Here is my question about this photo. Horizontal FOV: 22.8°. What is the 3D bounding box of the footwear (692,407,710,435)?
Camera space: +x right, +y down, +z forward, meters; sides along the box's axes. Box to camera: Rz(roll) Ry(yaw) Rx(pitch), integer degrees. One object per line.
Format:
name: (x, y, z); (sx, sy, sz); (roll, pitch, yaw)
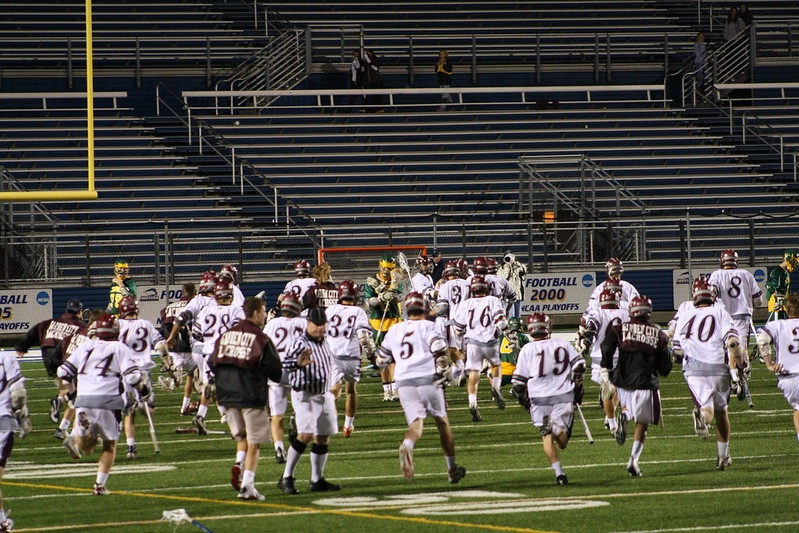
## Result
footwear: (5.696, 2.993, 37.570); (0.207, 0.626, 0.286); (-18, -3, 6)

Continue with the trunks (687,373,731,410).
trunks: (5.926, 2.355, 37.954); (0.941, 0.976, 0.588); (0, 0, 3)

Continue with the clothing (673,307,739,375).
clothing: (5.845, 1.359, 38.333); (1.545, 1.526, 1.060); (0, -4, 16)

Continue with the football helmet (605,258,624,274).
football helmet: (4.526, 0.010, 41.544); (0.323, 0.355, 0.382); (12, -3, -17)

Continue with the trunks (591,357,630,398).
trunks: (4.025, 2.220, 39.462); (0.361, 0.868, 0.559); (-13, -29, 39)

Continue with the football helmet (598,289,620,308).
football helmet: (4.193, 0.634, 39.538); (0.289, 0.318, 0.400); (6, 11, 39)

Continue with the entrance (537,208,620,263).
entrance: (4.590, -0.777, 52.321); (1.590, 1.097, 1.569); (0, 1, -11)

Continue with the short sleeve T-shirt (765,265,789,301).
short sleeve T-shirt: (8.531, 0.387, 44.845); (0.231, 0.478, 0.901); (2, 4, 24)

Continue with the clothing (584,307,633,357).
clothing: (4.067, 1.254, 38.505); (0.962, 0.971, 0.527); (2, 3, 8)

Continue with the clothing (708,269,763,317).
clothing: (7.175, 0.572, 42.627); (1.118, 0.951, 0.557); (-3, 7, 16)

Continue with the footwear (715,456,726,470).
footwear: (6.103, 3.765, 37.730); (0.170, 0.225, 0.237); (2, -10, -1)

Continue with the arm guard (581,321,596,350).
arm guard: (3.741, 1.360, 39.357); (0.195, 0.508, 0.326); (2, 1, 25)

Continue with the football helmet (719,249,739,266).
football helmet: (7.142, -0.174, 43.128); (0.334, 0.449, 0.438); (2, 8, 6)
